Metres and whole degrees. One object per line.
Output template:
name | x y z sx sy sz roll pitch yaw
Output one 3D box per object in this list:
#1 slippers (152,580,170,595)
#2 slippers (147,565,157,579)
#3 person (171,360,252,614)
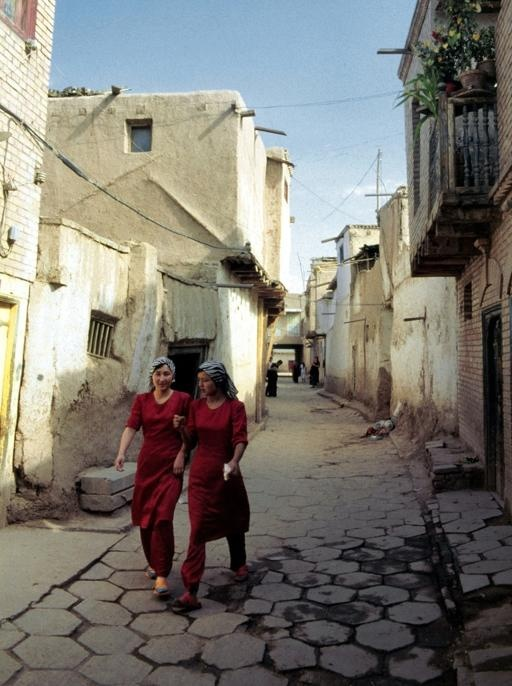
slippers | -0.571 1.460 3.773 0.088 0.112 0.128 2 -2 -12
slippers | -0.672 1.481 4.057 0.061 0.079 0.192 2 -14 -6
person | -0.249 0.834 3.898 0.418 1.425 0.740 2 -2 -2
